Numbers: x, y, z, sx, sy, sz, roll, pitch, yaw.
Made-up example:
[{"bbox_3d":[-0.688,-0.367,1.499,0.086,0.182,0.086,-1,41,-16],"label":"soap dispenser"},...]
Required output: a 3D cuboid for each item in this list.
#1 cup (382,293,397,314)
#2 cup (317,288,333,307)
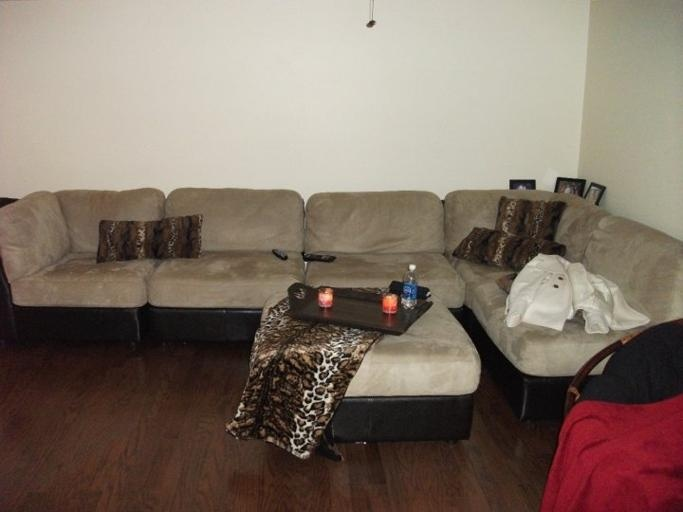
[{"bbox_3d":[0.296,0.292,3.519,0.100,0.116,0.104,0,5,0],"label":"cup"},{"bbox_3d":[-0.097,0.258,3.554,0.098,0.101,0.100,1,6,0],"label":"cup"}]
